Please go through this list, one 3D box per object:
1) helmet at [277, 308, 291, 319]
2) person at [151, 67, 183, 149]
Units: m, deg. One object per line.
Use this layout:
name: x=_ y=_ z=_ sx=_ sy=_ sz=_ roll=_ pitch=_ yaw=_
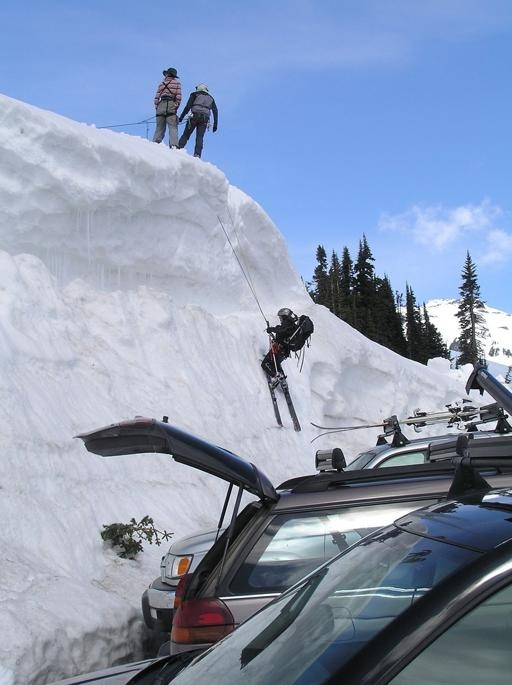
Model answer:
helmet: x=0.527 y=-0.577 z=15.830 sx=0.229 sy=0.161 sz=0.176 roll=-29 pitch=-12 yaw=22
person: x=-1.981 y=-5.110 z=18.295 sx=0.559 sy=1.821 sz=0.895 roll=1 pitch=-5 yaw=-7
